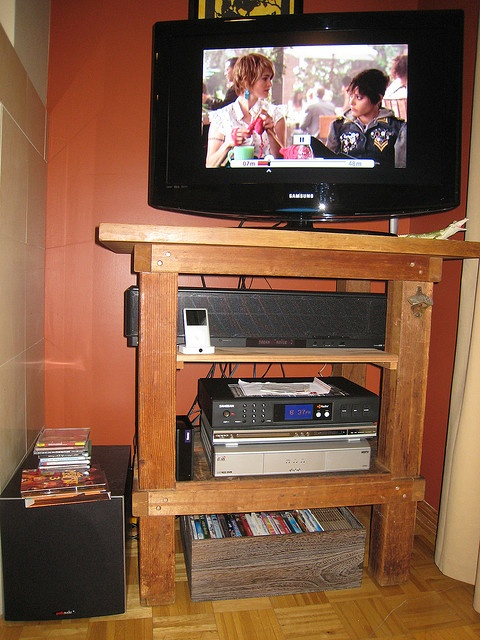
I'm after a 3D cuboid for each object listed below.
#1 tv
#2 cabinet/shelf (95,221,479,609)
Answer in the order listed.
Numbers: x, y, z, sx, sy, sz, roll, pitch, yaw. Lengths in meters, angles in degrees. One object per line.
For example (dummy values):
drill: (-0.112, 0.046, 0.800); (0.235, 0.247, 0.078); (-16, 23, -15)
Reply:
tv: (0.191, -0.572, 1.486); (0.679, 0.505, 0.191); (0, 1, 1)
cabinet/shelf: (0.115, 0.212, 1.771); (1.019, 1.064, 0.948); (0, 6, -5)
